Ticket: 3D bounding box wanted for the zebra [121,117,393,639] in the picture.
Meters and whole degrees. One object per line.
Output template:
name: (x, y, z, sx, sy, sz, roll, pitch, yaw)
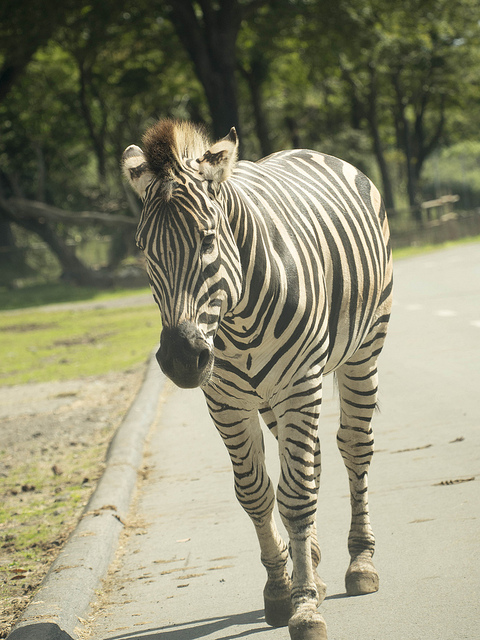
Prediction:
zebra: (0.163, 0.207, 3.648, 0.596, 2.162, 1.616, -7, 9, 26)
